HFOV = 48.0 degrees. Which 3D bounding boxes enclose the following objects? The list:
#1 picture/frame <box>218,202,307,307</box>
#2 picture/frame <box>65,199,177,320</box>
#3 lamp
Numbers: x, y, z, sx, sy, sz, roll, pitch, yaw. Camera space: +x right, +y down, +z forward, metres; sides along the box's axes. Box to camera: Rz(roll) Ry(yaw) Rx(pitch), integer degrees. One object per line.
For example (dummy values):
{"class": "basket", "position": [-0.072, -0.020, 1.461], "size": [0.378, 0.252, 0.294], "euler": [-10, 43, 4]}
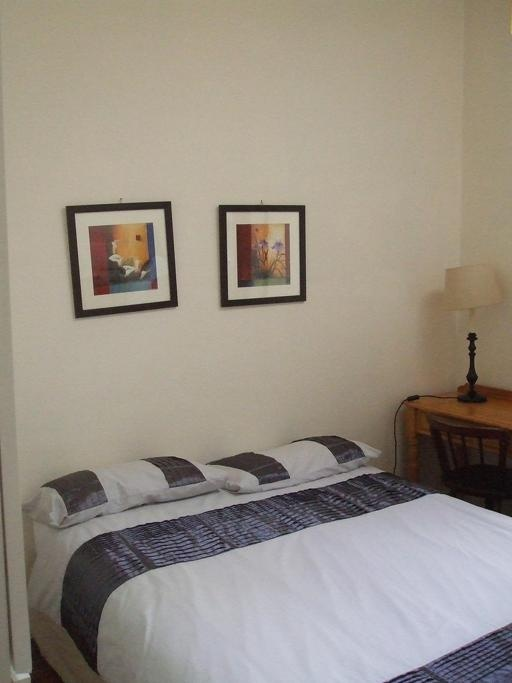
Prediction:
{"class": "picture/frame", "position": [0.008, -0.442, 2.855], "size": [0.508, 0.513, 0.025], "euler": [-8, 14, -27]}
{"class": "picture/frame", "position": [-0.607, -0.366, 2.492], "size": [0.516, 0.514, 0.044], "euler": [-8, 8, -31]}
{"class": "lamp", "position": [1.232, -0.046, 3.271], "size": [0.295, 0.758, 0.367], "euler": [5, 7, 43]}
